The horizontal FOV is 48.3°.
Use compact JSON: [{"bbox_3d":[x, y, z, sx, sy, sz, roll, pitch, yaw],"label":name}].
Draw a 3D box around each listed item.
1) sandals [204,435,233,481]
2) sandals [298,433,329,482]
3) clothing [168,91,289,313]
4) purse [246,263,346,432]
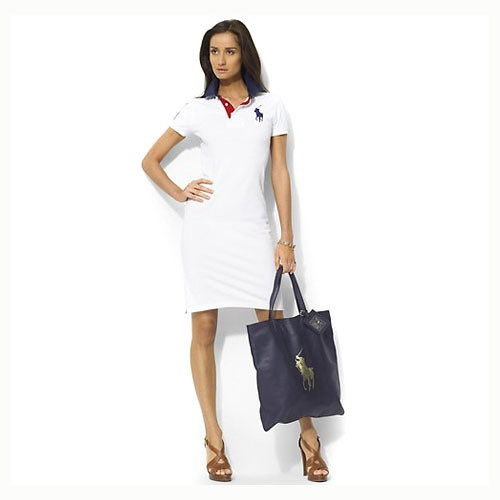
[{"bbox_3d":[-0.137,0.889,2.339,0.066,0.082,0.201,0,-2,-8],"label":"sandals"},{"bbox_3d":[0.295,0.925,2.437,0.089,0.099,0.303,3,-2,4],"label":"sandals"},{"bbox_3d":[-0.065,-0.202,2.358,0.484,0.894,0.311,-5,-19,5],"label":"clothing"},{"bbox_3d":[0.175,0.373,2.211,0.323,0.661,0.120,-9,12,0],"label":"purse"}]
